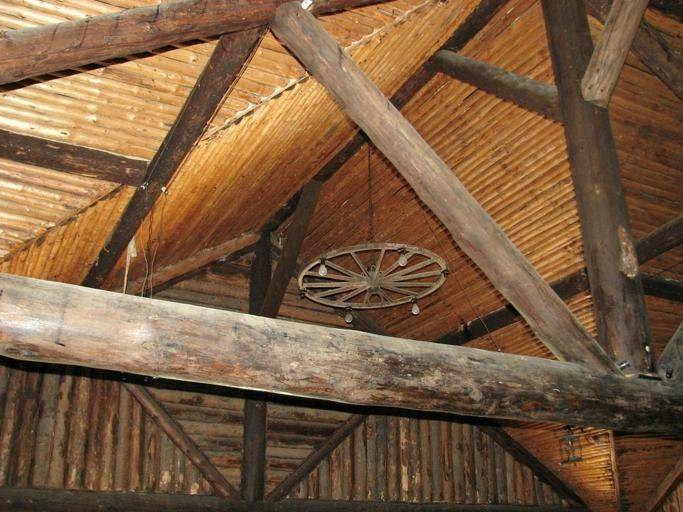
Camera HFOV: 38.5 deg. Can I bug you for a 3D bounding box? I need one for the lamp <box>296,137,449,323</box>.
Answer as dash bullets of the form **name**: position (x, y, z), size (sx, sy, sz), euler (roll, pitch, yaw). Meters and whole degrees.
- **lamp**: position (0.393, -0.396, 12.019), size (2.388, 2.610, 1.713), euler (-6, -62, 3)
